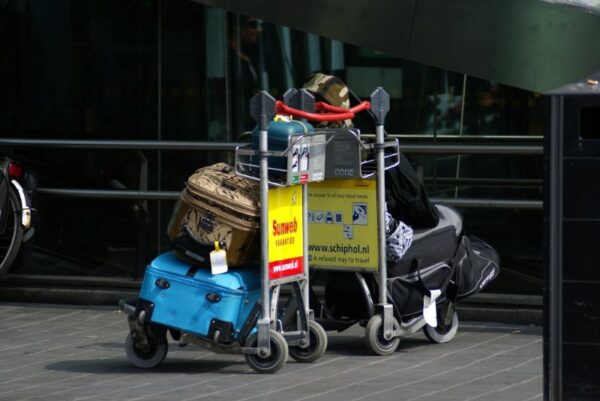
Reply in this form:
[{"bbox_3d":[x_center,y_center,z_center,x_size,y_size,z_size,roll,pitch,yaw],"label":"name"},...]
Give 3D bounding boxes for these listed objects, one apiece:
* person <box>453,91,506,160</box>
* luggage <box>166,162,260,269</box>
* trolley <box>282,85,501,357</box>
[{"bbox_3d":[2.030,-0.807,11.423,0.788,0.844,0.450,-1,1,17],"label":"person"},{"bbox_3d":[-0.660,0.070,8.993,0.916,0.813,0.975,11,27,-14],"label":"luggage"},{"bbox_3d":[0.944,0.167,9.838,2.196,2.256,1.443,-9,10,-44],"label":"trolley"}]
